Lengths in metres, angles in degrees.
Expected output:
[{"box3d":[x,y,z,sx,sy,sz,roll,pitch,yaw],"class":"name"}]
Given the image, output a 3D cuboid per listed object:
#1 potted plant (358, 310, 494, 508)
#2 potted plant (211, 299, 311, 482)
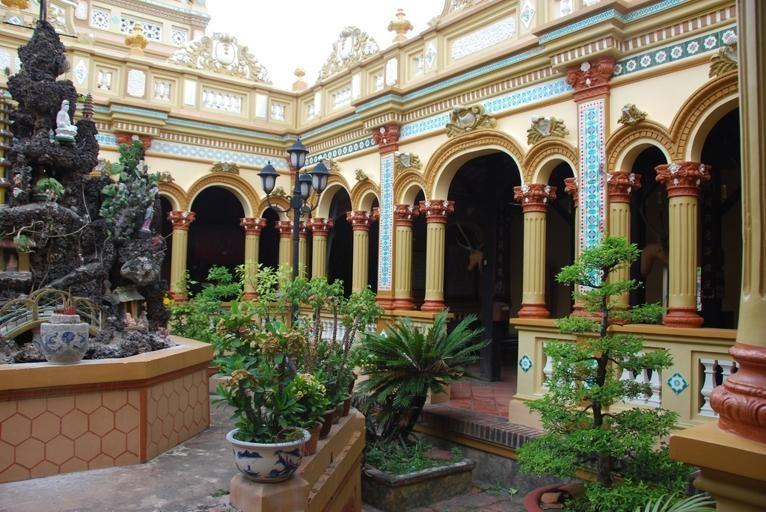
[{"box3d":[0.567,2.210,9.836,2.631,3.111,2.521,3,-1,-41],"class":"potted plant"},{"box3d":[-1.149,1.283,5.539,0.836,1.609,1.069,4,-5,-45],"class":"potted plant"}]
